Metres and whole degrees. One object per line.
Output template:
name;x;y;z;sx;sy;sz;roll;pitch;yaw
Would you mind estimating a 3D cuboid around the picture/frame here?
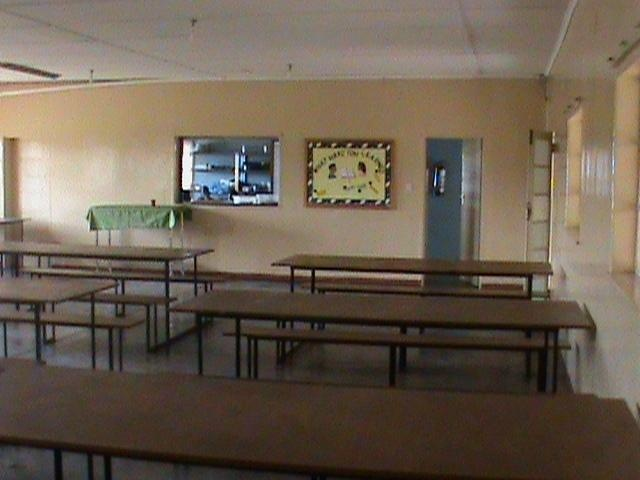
picture/frame;0.425;-0.973;8.551;0.906;0.750;0.074;1;11;9
